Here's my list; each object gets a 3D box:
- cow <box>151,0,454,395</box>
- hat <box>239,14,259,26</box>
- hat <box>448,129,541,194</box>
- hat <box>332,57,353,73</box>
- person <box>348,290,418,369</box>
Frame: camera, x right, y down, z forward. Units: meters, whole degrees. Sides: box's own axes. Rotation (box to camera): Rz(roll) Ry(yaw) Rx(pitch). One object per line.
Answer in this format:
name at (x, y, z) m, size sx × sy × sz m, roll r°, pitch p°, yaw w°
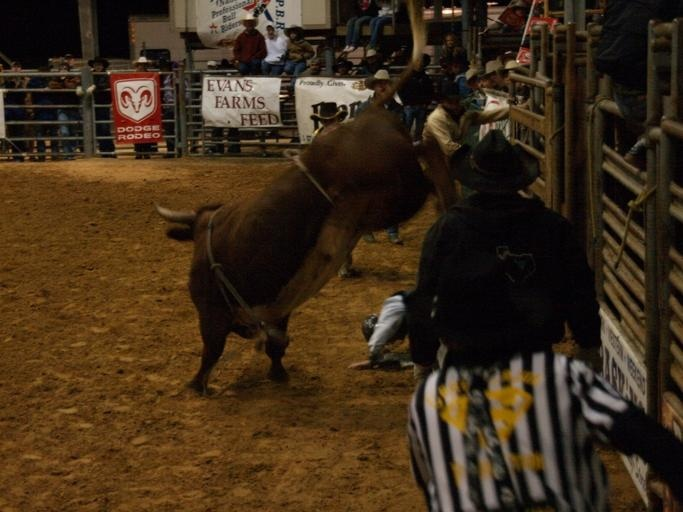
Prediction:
cow at (-0.225, -0.062, 3.881) m, size 2.214 × 2.683 × 0.547 m, roll 13°, pitch 20°, yaw 43°
hat at (-2.274, -6.004, 14.819) m, size 0.430 × 0.222 × 0.489 m, roll -1°, pitch 12°, yaw -3°
hat at (0.659, -0.391, 2.526) m, size 0.344 × 0.125 × 0.354 m, roll -12°, pitch 25°, yaw 2°
hat at (0.079, -4.650, 14.174) m, size 0.572 × 0.478 × 0.201 m, roll -1°, pitch 3°, yaw -3°
person at (0.318, 0.409, 3.377) m, size 0.413 × 0.293 × 0.776 m, roll 5°, pitch 2°, yaw -11°
